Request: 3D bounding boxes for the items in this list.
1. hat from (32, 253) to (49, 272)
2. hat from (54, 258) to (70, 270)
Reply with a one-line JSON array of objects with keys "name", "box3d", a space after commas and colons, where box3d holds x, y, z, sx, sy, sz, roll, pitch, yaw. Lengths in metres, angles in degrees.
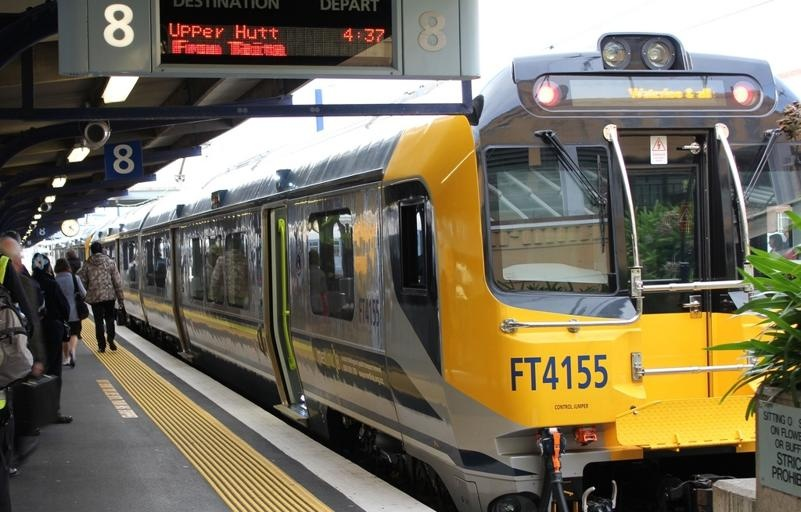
[{"name": "hat", "box3d": [-5.176, 0.089, 10.163, 0.267, 0.267, 0.262, -2, -3, -31]}, {"name": "hat", "box3d": [-5.843, 0.137, 12.217, 0.187, 0.245, 0.245, 3, 37, -16]}]
